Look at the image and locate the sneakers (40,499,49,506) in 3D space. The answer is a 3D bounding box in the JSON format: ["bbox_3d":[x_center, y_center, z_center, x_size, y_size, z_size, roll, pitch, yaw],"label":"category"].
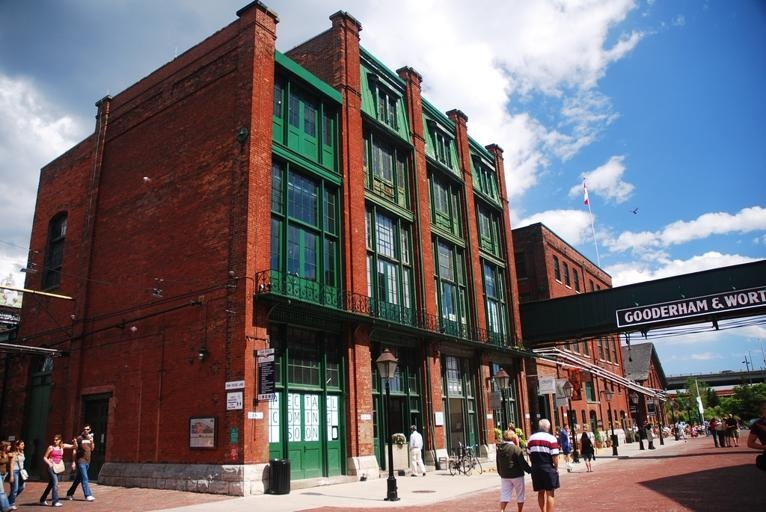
[{"bbox_3d":[-12.056,8.810,18.241,0.244,0.193,0.536,11,-29,-32],"label":"sneakers"}]

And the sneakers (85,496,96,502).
[{"bbox_3d":[-10.645,8.870,18.658,0.357,0.154,0.176,-10,-16,26],"label":"sneakers"}]

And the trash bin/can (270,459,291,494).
[{"bbox_3d":[-3.966,8.443,19.487,0.741,1.259,0.556,-3,-24,-4],"label":"trash bin/can"}]

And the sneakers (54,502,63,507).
[{"bbox_3d":[-11.236,8.651,17.752,0.250,0.101,0.143,-11,-20,26],"label":"sneakers"}]
